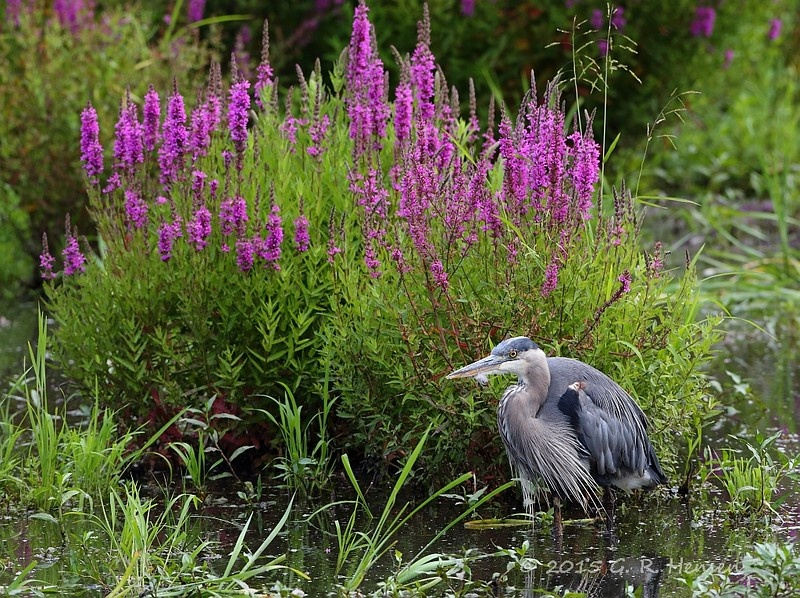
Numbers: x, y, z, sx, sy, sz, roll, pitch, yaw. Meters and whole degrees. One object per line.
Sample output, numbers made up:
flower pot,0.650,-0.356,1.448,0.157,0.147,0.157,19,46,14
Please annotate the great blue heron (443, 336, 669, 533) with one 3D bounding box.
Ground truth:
great blue heron,0.792,0.671,4.139,0.947,0.970,0.517,0,-14,-32
